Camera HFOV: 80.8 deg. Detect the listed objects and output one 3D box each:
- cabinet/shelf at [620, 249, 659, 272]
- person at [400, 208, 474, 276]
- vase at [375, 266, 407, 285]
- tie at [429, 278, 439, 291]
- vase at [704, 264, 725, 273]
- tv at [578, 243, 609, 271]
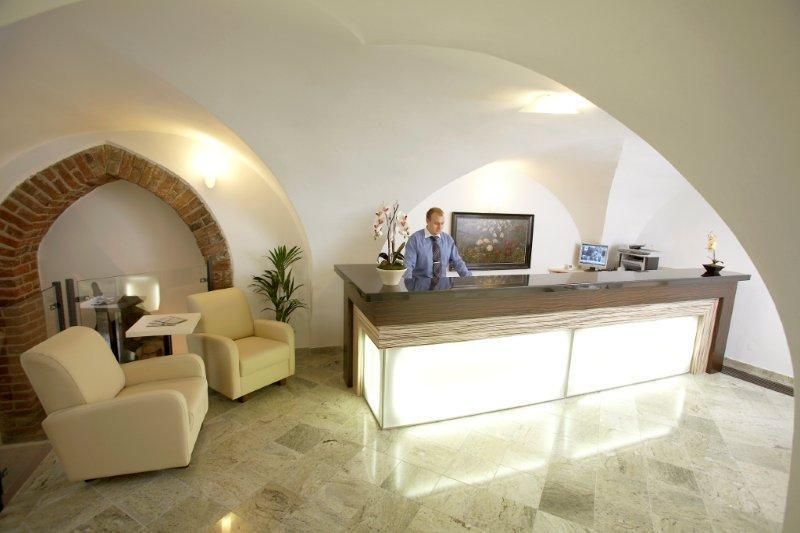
[{"bbox_3d":[3.818,-0.101,7.490,0.186,0.245,0.335,1,10,-12],"label":"cabinet/shelf"},{"bbox_3d":[0.437,-0.065,5.623,0.807,1.208,0.658,0,18,-6],"label":"person"},{"bbox_3d":[-0.091,0.088,4.710,0.260,0.190,0.279,-1,5,-3],"label":"vase"},{"bbox_3d":[0.342,0.183,4.820,0.093,0.030,0.107,-13,15,7],"label":"tie"},{"bbox_3d":[4.012,0.022,6.014,0.146,0.068,0.181,-2,4,-23],"label":"vase"},{"bbox_3d":[3.296,-0.168,7.992,0.154,0.447,0.438,-4,8,-35],"label":"tv"}]
